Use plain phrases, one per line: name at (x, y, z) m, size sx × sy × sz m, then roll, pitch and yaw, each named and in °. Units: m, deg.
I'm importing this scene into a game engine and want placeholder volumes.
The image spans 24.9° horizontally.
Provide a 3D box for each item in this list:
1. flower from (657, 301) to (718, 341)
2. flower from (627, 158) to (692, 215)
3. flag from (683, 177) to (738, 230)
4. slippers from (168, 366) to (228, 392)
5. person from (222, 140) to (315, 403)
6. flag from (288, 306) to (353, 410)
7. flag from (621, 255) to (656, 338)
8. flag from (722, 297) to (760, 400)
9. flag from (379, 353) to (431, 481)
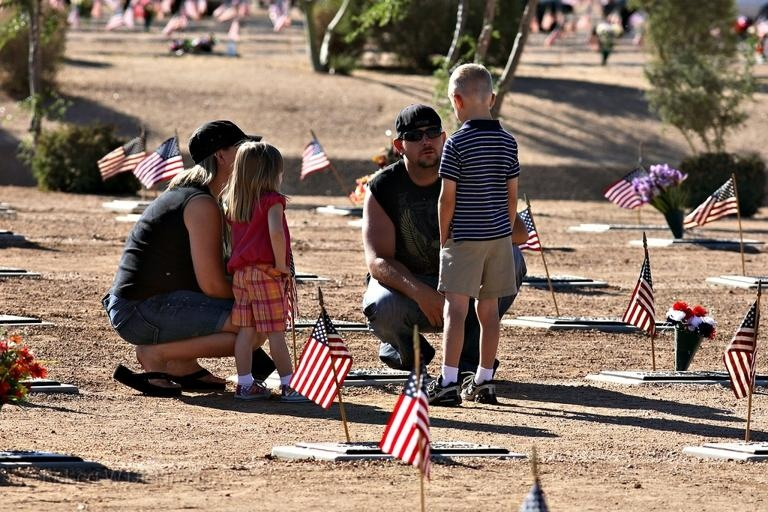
flower at (4.065, 0.840, 22.972) m, size 0.634 × 0.456 × 0.403 m, roll 4°, pitch 7°, yaw 6°
flower at (5.094, -1.329, 31.674) m, size 1.005 × 1.009 × 0.986 m, roll -19°, pitch 8°, yaw 4°
flag at (5.325, -0.875, 28.169) m, size 0.781 × 0.894 × 1.200 m, roll 4°, pitch 7°, yaw 9°
slippers at (-2.403, 1.573, 22.409) m, size 0.816 × 0.312 × 0.278 m, roll 2°, pitch 1°, yaw -8°
person at (-1.582, 0.171, 21.967) m, size 1.220 × 2.881 × 0.779 m, roll 1°, pitch 2°, yaw 39°
flag at (-0.743, 1.240, 21.167) m, size 0.520 × 1.292 × 0.843 m, roll -3°, pitch 9°, yaw -42°
flag at (3.373, 0.571, 22.992) m, size 0.376 × 1.208 × 0.379 m, roll 1°, pitch 0°, yaw 1°
flag at (4.398, 1.117, 21.343) m, size 0.382 × 1.230 × 0.371 m, roll -2°, pitch 0°, yaw 10°
flag at (0.306, 1.912, 19.953) m, size 0.709 × 1.237 × 0.363 m, roll 10°, pitch 9°, yaw 43°
